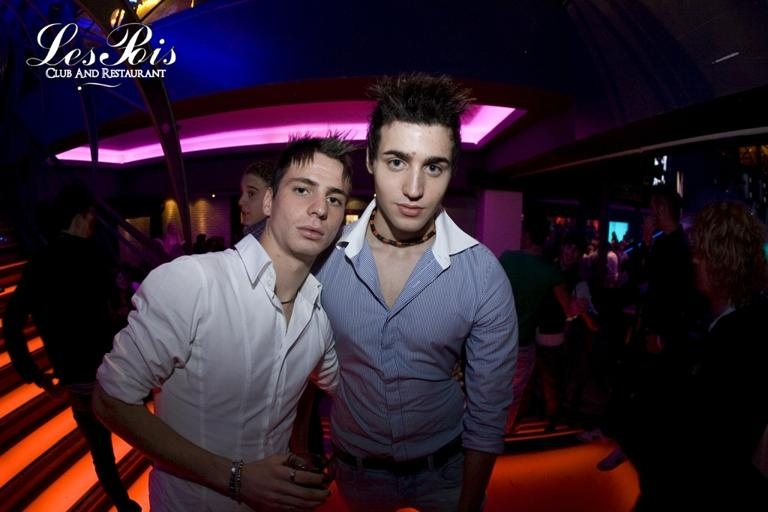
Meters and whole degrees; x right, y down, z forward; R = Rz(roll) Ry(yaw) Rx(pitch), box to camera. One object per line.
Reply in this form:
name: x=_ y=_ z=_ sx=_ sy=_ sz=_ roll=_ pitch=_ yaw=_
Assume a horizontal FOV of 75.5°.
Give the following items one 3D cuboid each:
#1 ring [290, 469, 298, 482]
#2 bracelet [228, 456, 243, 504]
ring: x=-0.642 y=1.557 z=3.504 sx=0.049 sy=0.076 sz=0.016 roll=1 pitch=2 yaw=-6
bracelet: x=-1.044 y=1.584 z=3.503 sx=0.103 sy=0.258 sz=0.040 roll=1 pitch=2 yaw=-4
